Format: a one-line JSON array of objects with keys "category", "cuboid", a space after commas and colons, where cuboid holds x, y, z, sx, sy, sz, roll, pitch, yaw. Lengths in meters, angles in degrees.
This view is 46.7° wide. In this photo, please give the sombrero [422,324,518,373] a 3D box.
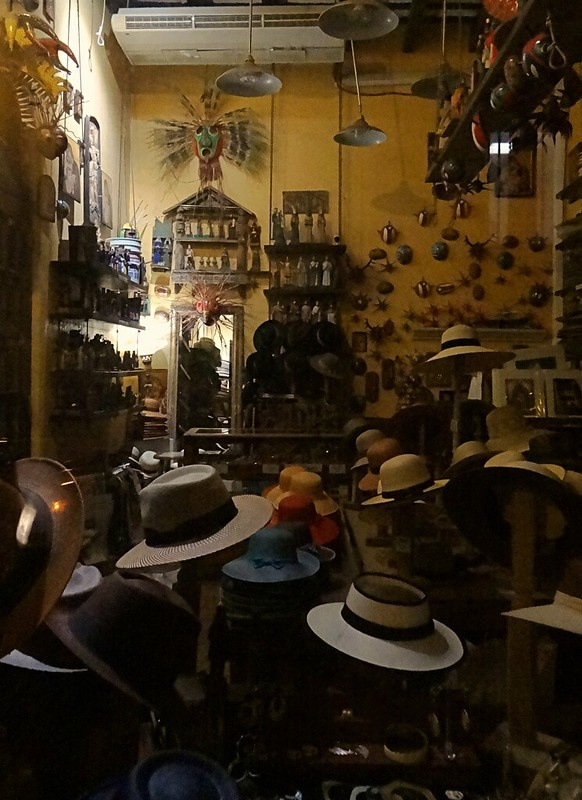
[{"category": "sombrero", "cuboid": [0.674, -0.179, 2.629, 0.249, 0.103, 0.251, -3, 2, 21]}]

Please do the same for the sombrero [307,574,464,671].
[{"category": "sombrero", "cuboid": [0.199, 0.489, 1.503, 0.354, 0.182, 0.177, 0, 0, 14]}]

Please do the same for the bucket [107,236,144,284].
[{"category": "bucket", "cuboid": [-0.973, -0.845, 4.036, 0.236, 0.220, 0.233, 1, -7, 0]}]

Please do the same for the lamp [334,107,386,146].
[{"category": "lamp", "cuboid": [0.313, -1.225, 3.131, 0.186, 0.101, 0.195, 0, 0, 43]}]

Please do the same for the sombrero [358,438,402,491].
[{"category": "sombrero", "cuboid": [0.304, 0.225, 2.366, 0.140, 0.102, 0.188, -7, 6, 2]}]

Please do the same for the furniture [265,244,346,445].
[{"category": "furniture", "cuboid": [0.049, -0.287, 3.630, 0.503, 1.260, 0.393, 1, -32, 4]}]

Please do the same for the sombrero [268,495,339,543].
[{"category": "sombrero", "cuboid": [0.058, 0.381, 2.065, 0.162, 0.048, 0.153, 16, 2, -42]}]

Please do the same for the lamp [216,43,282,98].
[{"category": "lamp", "cuboid": [-0.174, -1.350, 2.857, 0.211, 0.215, 0.204, -3, 1, -28]}]

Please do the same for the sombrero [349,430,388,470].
[{"category": "sombrero", "cuboid": [0.301, 0.206, 2.725, 0.121, 0.098, 0.164, -25, -1, -7]}]

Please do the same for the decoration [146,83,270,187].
[{"category": "decoration", "cuboid": [-0.388, -1.240, 3.120, 0.455, 0.426, 0.123, -5, 25, -11]}]

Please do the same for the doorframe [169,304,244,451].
[{"category": "doorframe", "cuboid": [-0.431, -0.129, 3.457, 0.410, 0.758, 0.531, 0, -1, -9]}]

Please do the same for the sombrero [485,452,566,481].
[{"category": "sombrero", "cuboid": [0.574, 0.164, 1.656, 0.181, 0.059, 0.245, 0, 0, 22]}]

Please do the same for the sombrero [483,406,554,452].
[{"category": "sombrero", "cuboid": [0.725, 0.094, 2.233, 0.151, 0.143, 0.171, 0, 0, 17]}]

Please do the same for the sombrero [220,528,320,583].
[{"category": "sombrero", "cuboid": [-0.033, 0.392, 1.689, 0.158, 0.055, 0.149, 4, -1, -35]}]

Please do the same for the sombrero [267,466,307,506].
[{"category": "sombrero", "cuboid": [-0.027, 0.318, 2.521, 0.100, 0.070, 0.131, 10, 20, 24]}]

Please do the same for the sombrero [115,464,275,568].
[{"category": "sombrero", "cuboid": [-0.275, 0.277, 1.770, 0.410, 0.173, 0.395, -16, 8, -13]}]

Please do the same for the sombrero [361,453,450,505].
[{"category": "sombrero", "cuboid": [0.320, 0.247, 1.985, 0.244, 0.171, 0.175, 0, 0, 16]}]
